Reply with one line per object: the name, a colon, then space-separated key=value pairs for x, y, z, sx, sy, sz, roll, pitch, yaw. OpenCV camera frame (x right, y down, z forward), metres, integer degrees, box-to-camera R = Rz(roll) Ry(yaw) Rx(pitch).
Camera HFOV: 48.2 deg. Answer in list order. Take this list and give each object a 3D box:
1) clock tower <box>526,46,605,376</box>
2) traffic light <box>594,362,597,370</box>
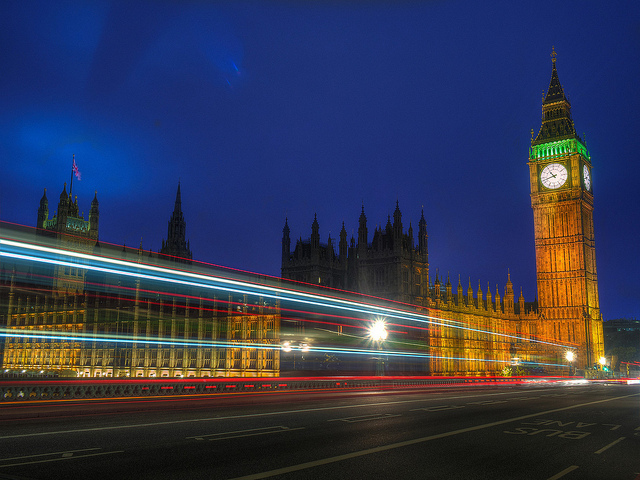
clock tower: x=39.538 y=-5.872 z=118.389 sx=10.856 sy=55.038 sz=7.997 roll=-2 pitch=-15 yaw=6
traffic light: x=41.872 y=19.256 z=108.846 sx=0.336 sy=1.088 sz=1.605 roll=-6 pitch=-16 yaw=22
